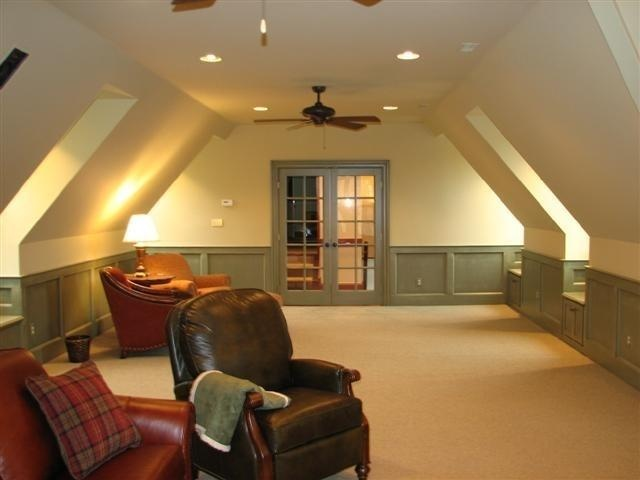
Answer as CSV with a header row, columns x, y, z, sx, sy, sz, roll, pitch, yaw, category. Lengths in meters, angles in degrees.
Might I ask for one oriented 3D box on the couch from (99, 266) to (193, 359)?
x,y,z,sx,sy,sz,roll,pitch,yaw,category
-1.976,0.812,5.540,1.112,1.214,0.941,-1,1,-11,couch
